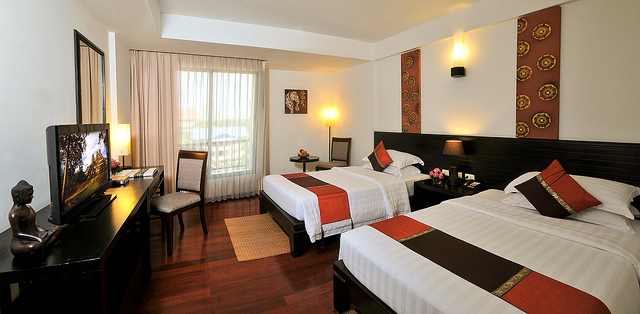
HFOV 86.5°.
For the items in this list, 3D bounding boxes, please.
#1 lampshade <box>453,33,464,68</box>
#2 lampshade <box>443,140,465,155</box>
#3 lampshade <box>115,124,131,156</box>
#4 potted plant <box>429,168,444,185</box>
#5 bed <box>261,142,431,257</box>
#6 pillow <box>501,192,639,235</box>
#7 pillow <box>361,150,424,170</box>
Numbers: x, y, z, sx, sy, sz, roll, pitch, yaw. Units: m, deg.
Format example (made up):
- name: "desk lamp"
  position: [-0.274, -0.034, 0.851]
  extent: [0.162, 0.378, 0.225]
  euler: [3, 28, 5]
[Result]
- name: "lampshade"
  position: [2.519, -1.959, 6.211]
  extent: [0.168, 0.625, 0.267]
  euler: [2, 12, 9]
- name: "lampshade"
  position: [2.395, -0.173, 6.101]
  extent: [0.305, 0.161, 0.271]
  euler: [-2, 6, -2]
- name: "lampshade"
  position: [-3.522, -0.320, 6.041]
  extent: [0.246, 0.525, 0.212]
  euler: [-2, 12, -14]
- name: "potted plant"
  position: [2.143, 0.348, 6.286]
  extent: [0.301, 0.240, 0.270]
  euler: [0, -1, 8]
- name: "bed"
  position: [0.556, 0.669, 6.265]
  extent: [2.594, 0.894, 2.012]
  euler: [-4, 7, -22]
- name: "pillow"
  position: [3.696, 0.820, 4.809]
  extent: [0.865, 0.179, 0.883]
  euler: [12, 6, 36]
- name: "pillow"
  position: [1.602, 0.016, 6.773]
  extent: [0.360, 0.132, 0.545]
  euler: [-33, 36, -24]
